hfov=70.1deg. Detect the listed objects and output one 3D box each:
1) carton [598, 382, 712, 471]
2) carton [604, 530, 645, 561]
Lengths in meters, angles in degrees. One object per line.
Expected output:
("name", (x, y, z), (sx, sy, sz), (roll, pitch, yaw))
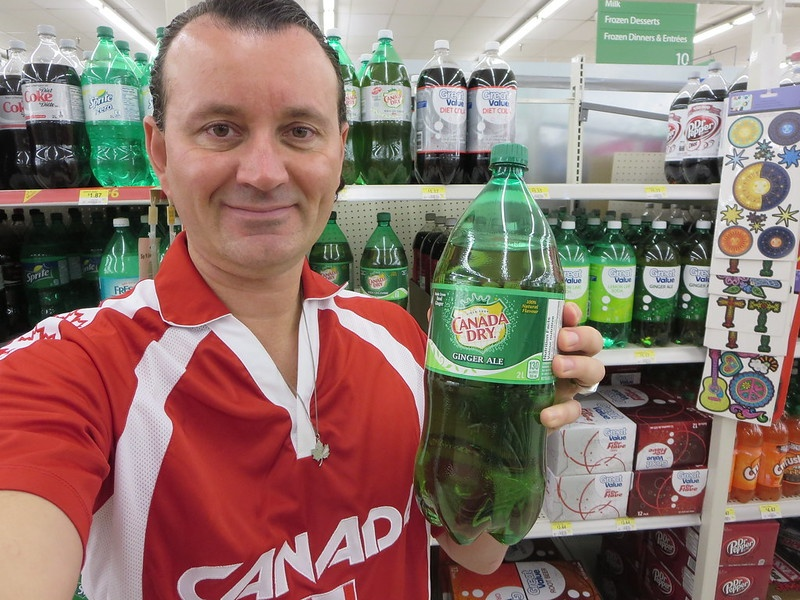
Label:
("carton", (0.999, 0.489, 2.241), (0.164, 0.256, 0.356), (-1, 14, -5))
("carton", (1.017, 1.075, 2.525), (0.036, 0.131, 0.136), (3, -5, -25))
